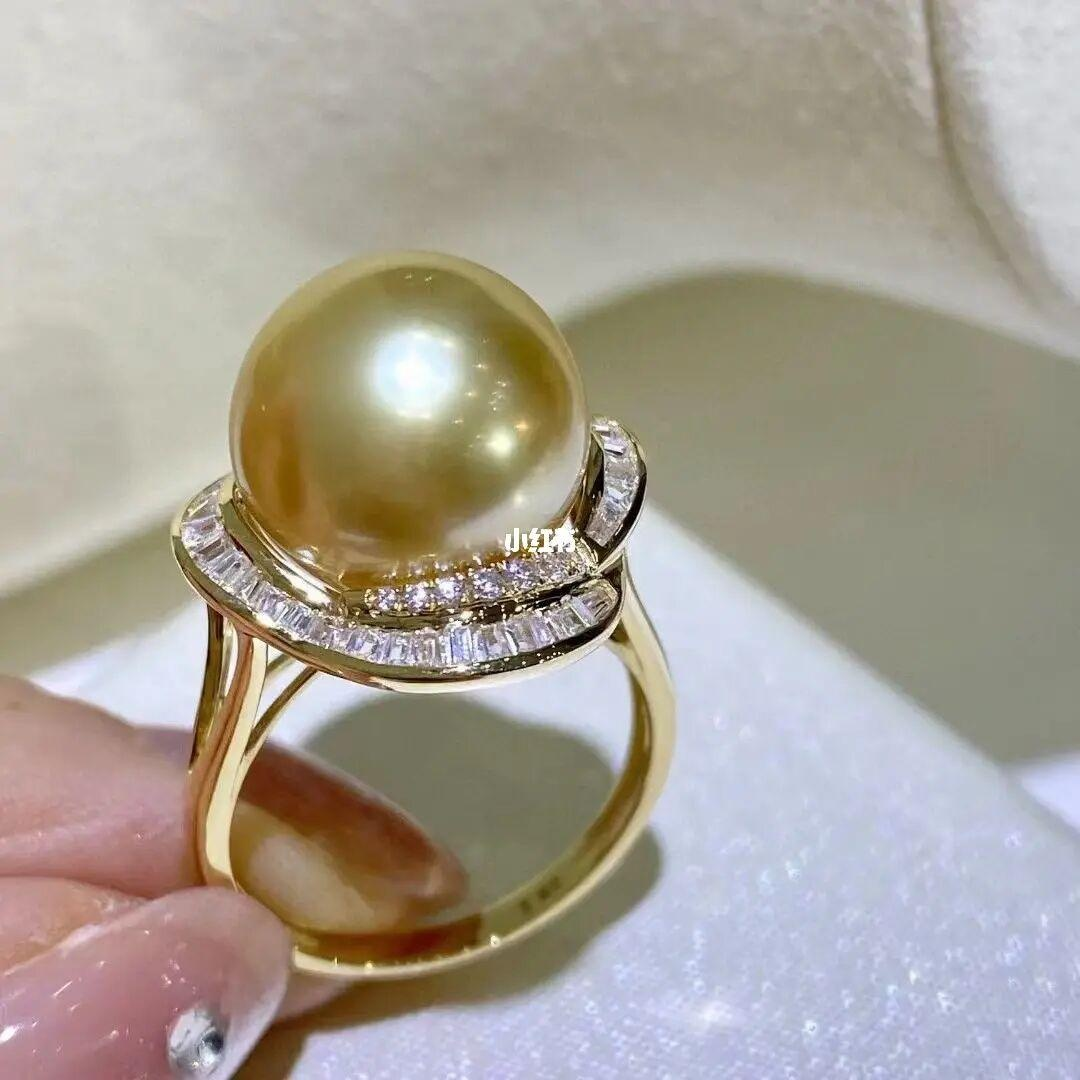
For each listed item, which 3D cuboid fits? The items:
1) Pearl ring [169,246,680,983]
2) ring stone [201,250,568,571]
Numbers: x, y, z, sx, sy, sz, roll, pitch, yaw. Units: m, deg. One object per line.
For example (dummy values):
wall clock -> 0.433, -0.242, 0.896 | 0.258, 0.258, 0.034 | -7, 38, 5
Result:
Pearl ring -> -0.055, 0.064, 0.600 | 0.250, 0.390, 0.255 | -1, 28, 0
ring stone -> -0.055, -0.053, 0.491 | 0.144, 0.077, 0.122 | -10, 68, -10
